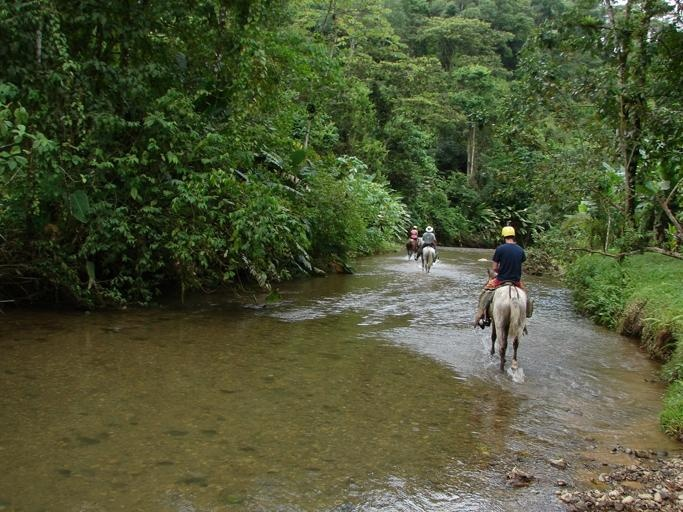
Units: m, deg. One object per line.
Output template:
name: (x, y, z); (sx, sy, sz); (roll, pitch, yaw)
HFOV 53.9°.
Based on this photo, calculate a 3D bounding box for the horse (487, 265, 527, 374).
horse: (3.222, 1.326, 12.991); (0.727, 1.526, 1.690); (4, 7, 12)

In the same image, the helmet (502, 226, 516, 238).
helmet: (3.381, -0.509, 13.435); (0.347, 0.241, 0.371); (0, -8, 1)
